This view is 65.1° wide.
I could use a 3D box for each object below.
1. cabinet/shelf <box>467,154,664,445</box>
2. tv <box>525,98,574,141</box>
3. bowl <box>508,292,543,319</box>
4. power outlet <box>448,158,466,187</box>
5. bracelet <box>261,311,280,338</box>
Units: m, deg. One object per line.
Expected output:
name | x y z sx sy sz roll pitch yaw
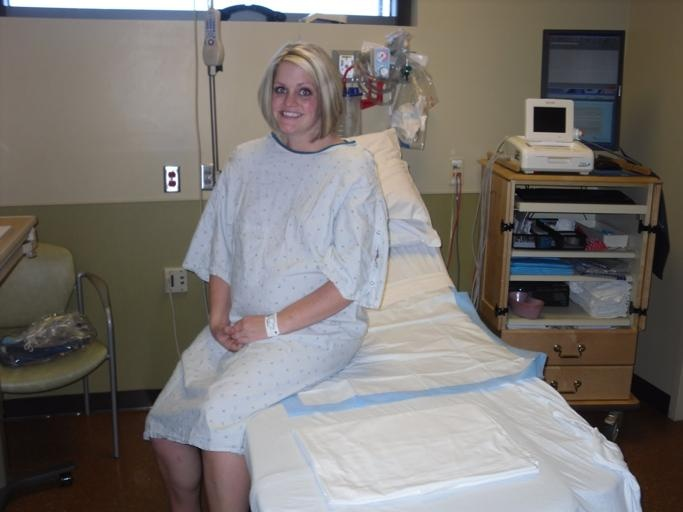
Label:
cabinet/shelf | 1.375 0.220 3.282 0.767 1.509 0.798 2 21 15
tv | 1.165 -0.757 3.004 0.206 0.213 0.030 1 -10 -2
bowl | 1.075 0.286 3.129 0.108 0.091 0.216 -9 8 -7
power outlet | 0.718 -0.535 3.427 0.111 0.239 0.119 -1 10 -2
bracelet | -0.253 0.245 1.907 0.053 0.084 0.024 -3 -2 16
